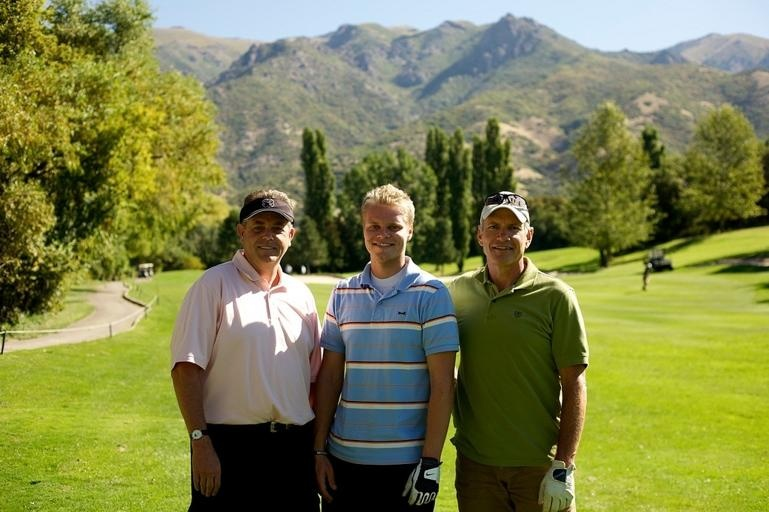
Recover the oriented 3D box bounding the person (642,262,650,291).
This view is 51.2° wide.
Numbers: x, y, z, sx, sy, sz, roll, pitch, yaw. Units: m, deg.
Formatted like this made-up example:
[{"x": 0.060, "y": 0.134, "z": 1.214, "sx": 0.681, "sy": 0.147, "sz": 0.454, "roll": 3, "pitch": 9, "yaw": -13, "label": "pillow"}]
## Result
[{"x": 12.201, "y": 0.953, "z": 37.257, "sx": 0.450, "sy": 1.311, "sz": 2.450, "roll": -2, "pitch": -2, "yaw": 18, "label": "person"}]
